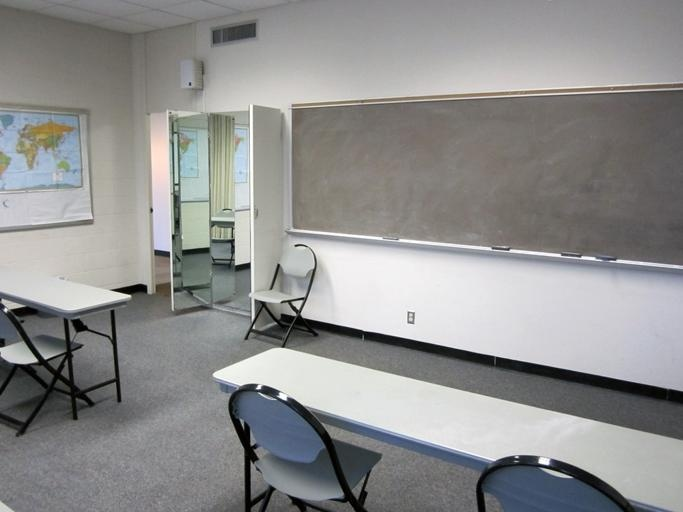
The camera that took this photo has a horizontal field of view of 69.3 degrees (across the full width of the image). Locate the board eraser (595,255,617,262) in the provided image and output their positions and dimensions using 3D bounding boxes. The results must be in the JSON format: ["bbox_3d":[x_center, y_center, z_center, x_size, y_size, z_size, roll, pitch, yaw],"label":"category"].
[{"bbox_3d":[2.273,0.014,4.257,0.159,0.042,0.029,8,15,31],"label":"board eraser"}]

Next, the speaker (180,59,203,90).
[{"bbox_3d":[-1.942,-2.317,6.297,0.366,0.353,0.168,7,15,26],"label":"speaker"}]

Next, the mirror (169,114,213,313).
[{"bbox_3d":[-1.920,-0.559,6.288,0.620,2.467,0.275,-6,15,-27],"label":"mirror"}]

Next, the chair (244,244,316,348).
[{"bbox_3d":[-0.655,0.425,5.601,0.589,1.111,0.718,11,14,38],"label":"chair"}]

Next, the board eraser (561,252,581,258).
[{"bbox_3d":[2.031,-0.016,4.370,0.162,0.041,0.034,8,15,28],"label":"board eraser"}]
